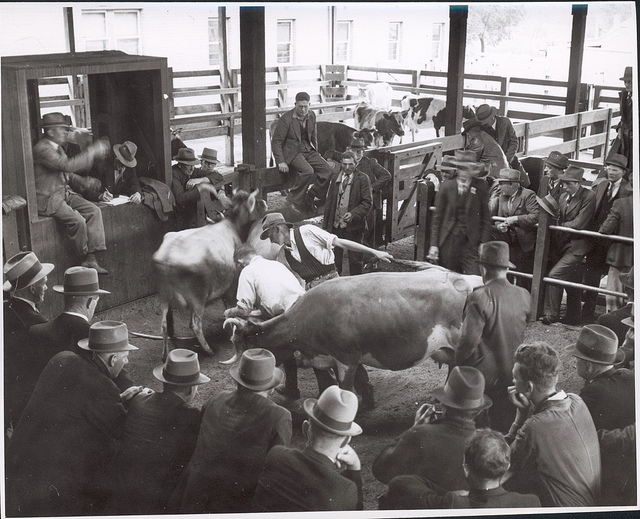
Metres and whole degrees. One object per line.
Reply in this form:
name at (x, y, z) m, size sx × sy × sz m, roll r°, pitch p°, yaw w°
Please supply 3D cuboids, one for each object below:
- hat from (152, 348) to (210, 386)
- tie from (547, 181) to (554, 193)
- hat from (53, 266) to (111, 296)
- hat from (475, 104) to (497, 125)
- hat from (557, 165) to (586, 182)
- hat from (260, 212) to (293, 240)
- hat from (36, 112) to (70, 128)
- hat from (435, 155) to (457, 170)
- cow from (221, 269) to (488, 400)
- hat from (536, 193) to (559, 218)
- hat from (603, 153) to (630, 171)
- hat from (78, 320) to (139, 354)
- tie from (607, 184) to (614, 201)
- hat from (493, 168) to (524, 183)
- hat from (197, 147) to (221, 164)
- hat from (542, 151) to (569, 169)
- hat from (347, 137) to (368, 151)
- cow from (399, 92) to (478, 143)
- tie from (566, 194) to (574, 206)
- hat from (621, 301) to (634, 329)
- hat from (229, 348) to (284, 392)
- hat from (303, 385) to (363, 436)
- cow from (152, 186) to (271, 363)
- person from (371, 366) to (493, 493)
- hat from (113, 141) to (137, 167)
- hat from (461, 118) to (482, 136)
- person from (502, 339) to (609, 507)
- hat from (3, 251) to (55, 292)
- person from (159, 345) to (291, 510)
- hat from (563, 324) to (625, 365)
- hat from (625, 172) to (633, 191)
hat at (-1.151, 0.889, 5.107) m, size 0.450 × 0.252 × 0.216 m, roll -3°, pitch 16°, yaw -13°
tie at (2.305, -0.716, 6.152) m, size 0.029 × 0.089 × 0.088 m, roll 33°, pitch 12°, yaw -24°
hat at (-2.034, 0.211, 5.263) m, size 0.443 × 0.288 × 0.252 m, roll -6°, pitch 17°, yaw -20°
hat at (1.929, -1.673, 7.162) m, size 0.303 × 0.211 × 0.165 m, roll -12°, pitch 20°, yaw -37°
hat at (2.457, -0.823, 6.010) m, size 0.194 × 0.074 × 0.170 m, roll 10°, pitch 1°, yaw -29°
hat at (-0.413, -0.318, 5.474) m, size 0.260 × 0.138 × 0.232 m, roll -24°, pitch -6°, yaw 24°
hat at (-2.359, -1.231, 5.480) m, size 0.157 × 0.063 × 0.174 m, roll -10°, pitch 9°, yaw -44°
hat at (1.170, -0.888, 5.707) m, size 0.179 × 0.069 × 0.166 m, roll 2°, pitch -3°, yaw -15°
cow at (0.405, 0.781, 5.311) m, size 2.444 × 1.197 × 0.670 m, roll -5°, pitch 14°, yaw -14°
hat at (2.192, -0.503, 5.924) m, size 0.238 × 0.183 × 0.235 m, roll -4°, pitch 16°, yaw -15°
hat at (2.866, -0.932, 5.949) m, size 0.212 × 0.143 × 0.177 m, roll 5°, pitch 16°, yaw 15°
hat at (-1.751, 0.628, 5.113) m, size 0.491 × 0.184 × 0.417 m, roll -2°, pitch 13°, yaw -28°
tie at (2.769, -0.633, 5.888) m, size 0.035 × 0.033 × 0.252 m, roll 12°, pitch 55°, yaw 17°
hat at (1.842, -0.810, 6.043) m, size 0.194 × 0.071 × 0.170 m, roll 2°, pitch -2°, yaw -27°
hat at (-1.106, -1.042, 6.216) m, size 0.174 × 0.066 × 0.155 m, roll 16°, pitch 11°, yaw 22°
hat at (2.359, -0.963, 6.199) m, size 0.197 × 0.074 × 0.175 m, roll 16°, pitch 16°, yaw -28°
hat at (0.378, -1.144, 6.274) m, size 0.202 × 0.094 × 0.245 m, roll 3°, pitch 15°, yaw 9°
cow at (2.133, -2.452, 11.107) m, size 1.565 × 0.846 × 0.400 m, roll 23°, pitch 45°, yaw 35°
tie at (2.382, -0.563, 5.911) m, size 0.030 × 0.109 × 0.024 m, roll 24°, pitch 4°, yaw -21°
hat at (2.597, 0.475, 5.204) m, size 0.103 × 0.149 × 0.134 m, roll 7°, pitch 17°, yaw 22°
hat at (-0.522, 0.901, 5.149) m, size 0.501 × 0.215 × 0.551 m, roll 5°, pitch 2°, yaw 2°
hat at (0.099, 1.200, 4.952) m, size 0.453 × 0.345 × 0.224 m, roll 1°, pitch 16°, yaw 1°
cow at (-1.028, 0.115, 5.941) m, size 0.575 × 1.273 × 1.717 m, roll 6°, pitch 19°, yaw 21°
person at (0.878, 1.361, 5.009) m, size 0.851 × 0.881 × 0.463 m, roll 2°, pitch 16°, yaw 5°
hat at (-1.873, -1.017, 5.988) m, size 0.094 × 0.249 × 0.230 m, roll -38°, pitch -4°, yaw 38°
hat at (1.690, -1.501, 6.990) m, size 0.171 × 0.163 × 0.374 m, roll 11°, pitch 18°, yaw 32°
person at (1.892, 1.345, 5.083) m, size 0.826 × 1.199 × 0.559 m, roll -1°, pitch 16°, yaw -6°
hat at (-2.412, 0.097, 5.082) m, size 0.319 × 0.121 × 0.294 m, roll -30°, pitch 33°, yaw -10°
person at (-0.749, 1.393, 4.951) m, size 0.994 × 1.173 × 0.486 m, roll -4°, pitch 16°, yaw -15°
hat at (2.343, 0.686, 5.187) m, size 0.497 × 0.204 × 0.455 m, roll 7°, pitch 21°, yaw -3°
hat at (2.922, -0.731, 5.837) m, size 0.055 × 0.140 × 0.106 m, roll 14°, pitch -4°, yaw 11°
